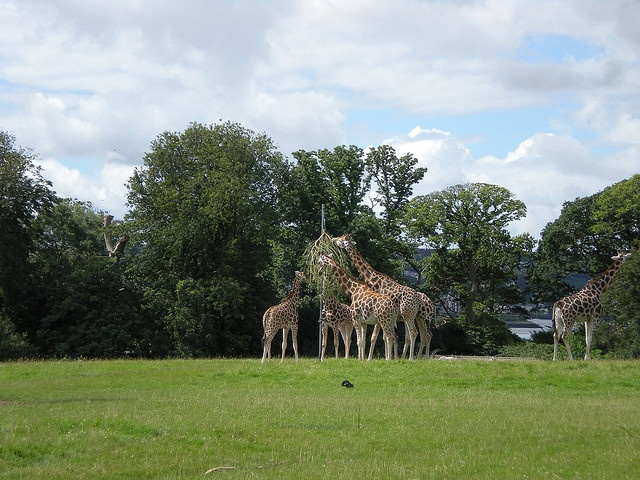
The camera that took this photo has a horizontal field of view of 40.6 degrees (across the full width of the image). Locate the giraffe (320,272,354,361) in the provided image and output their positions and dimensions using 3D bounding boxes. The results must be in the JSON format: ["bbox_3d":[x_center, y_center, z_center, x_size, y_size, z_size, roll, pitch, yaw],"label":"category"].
[{"bbox_3d":[0.851,4.105,44.300,1.504,3.997,1.367,-6,-3,24],"label":"giraffe"}]

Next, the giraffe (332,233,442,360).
[{"bbox_3d":[4.200,2.936,44.438,4.057,7.090,4.238,-10,-5,44],"label":"giraffe"}]

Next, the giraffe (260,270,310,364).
[{"bbox_3d":[-1.920,3.851,42.696,2.043,4.850,1.873,-3,-2,-3],"label":"giraffe"}]
